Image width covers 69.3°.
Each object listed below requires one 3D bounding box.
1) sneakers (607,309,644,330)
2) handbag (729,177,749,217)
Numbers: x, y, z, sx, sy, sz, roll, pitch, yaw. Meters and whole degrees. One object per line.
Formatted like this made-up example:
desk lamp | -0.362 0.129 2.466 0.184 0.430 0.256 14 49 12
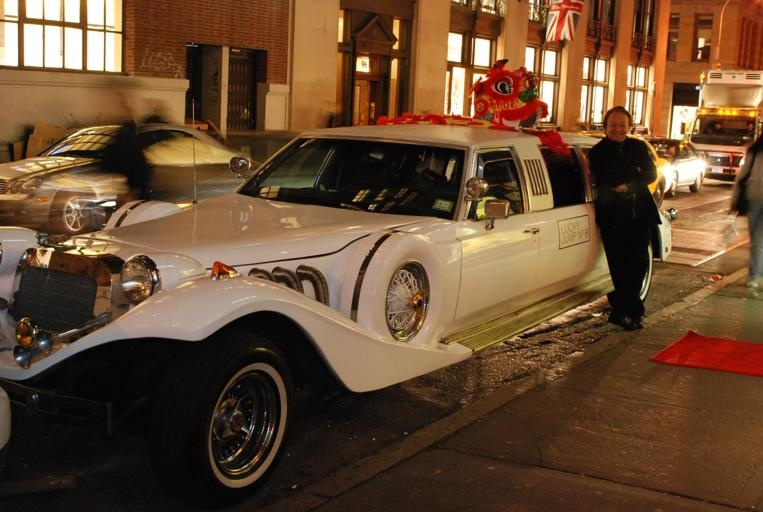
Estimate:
sneakers | 3.260 0.883 7.408 0.295 0.104 0.288 -1 14 -28
handbag | 5.743 -0.932 8.944 0.126 0.469 0.341 3 16 26
